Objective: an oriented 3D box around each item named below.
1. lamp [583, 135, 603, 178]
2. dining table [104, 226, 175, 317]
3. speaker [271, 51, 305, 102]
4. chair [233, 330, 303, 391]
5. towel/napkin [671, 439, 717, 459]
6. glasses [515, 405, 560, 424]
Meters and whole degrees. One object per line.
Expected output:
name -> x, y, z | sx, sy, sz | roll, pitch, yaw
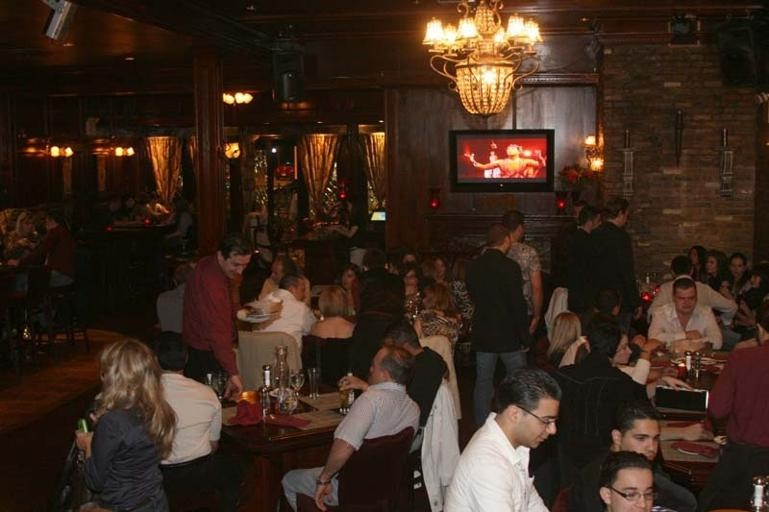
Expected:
lamp -> 3.531, -1.733, 12.180 | 0.238, 0.676, 1.131 | 0, 6, 12
dining table -> -4.757, 0.332, 13.819 | 0.897, 1.542, 1.672 | 0, 4, 7
speaker -> -1.414, -2.651, 10.601 | 0.411, 0.716, 0.233 | -3, 7, -11
chair -> -1.235, 1.073, 7.776 | 0.670, 0.575, 0.659 | 0, -2, -6
towel/napkin -> 2.487, 1.554, 5.781 | 0.345, 0.074, 0.171 | 1, 6, 16
glasses -> 1.011, 1.030, 4.696 | 0.154, 0.045, 0.155 | 27, 13, 39
